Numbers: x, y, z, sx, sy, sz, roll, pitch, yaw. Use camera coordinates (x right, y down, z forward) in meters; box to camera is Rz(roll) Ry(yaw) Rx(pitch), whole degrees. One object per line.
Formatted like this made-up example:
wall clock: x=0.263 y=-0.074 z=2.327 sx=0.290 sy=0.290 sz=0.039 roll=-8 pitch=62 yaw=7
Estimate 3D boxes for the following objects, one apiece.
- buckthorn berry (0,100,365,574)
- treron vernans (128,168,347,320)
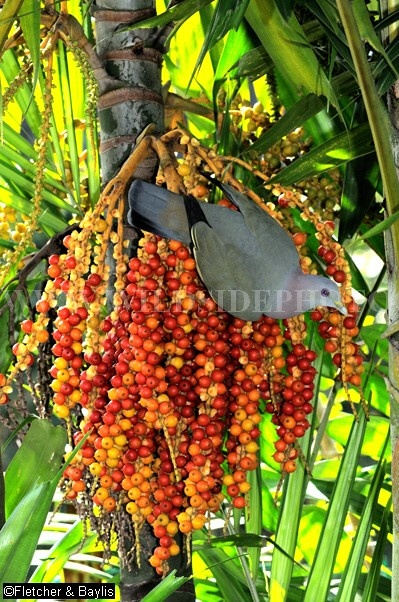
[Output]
buckthorn berry: x=-0.009 y=-0.010 z=0.671 sx=0.423 sy=0.149 sz=0.438 roll=2 pitch=80 yaw=2
treron vernans: x=0.055 y=-0.048 z=0.720 sx=0.234 sy=0.147 sz=0.100 roll=45 pitch=59 yaw=-31
